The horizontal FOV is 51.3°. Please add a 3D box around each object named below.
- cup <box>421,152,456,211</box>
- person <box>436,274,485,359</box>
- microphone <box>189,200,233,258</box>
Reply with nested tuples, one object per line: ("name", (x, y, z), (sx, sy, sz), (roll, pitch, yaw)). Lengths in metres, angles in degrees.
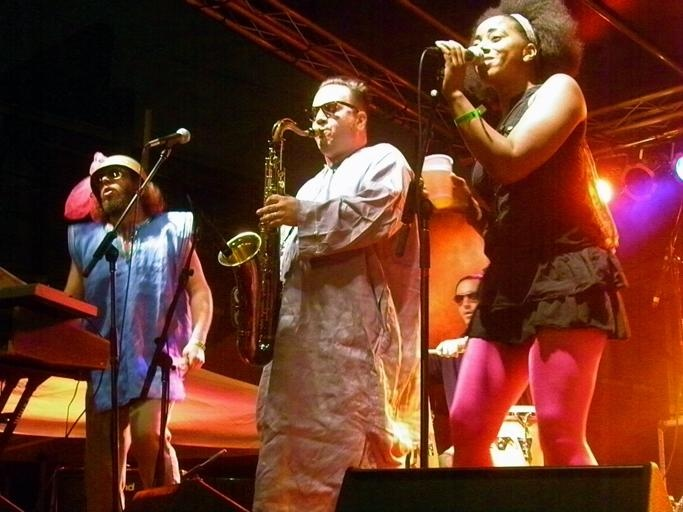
("cup", (0.525, -0.429, 3.860), (0.156, 0.371, 0.152), (-2, 7, 0))
("person", (1.043, 0.482, 6.276), (0.355, 0.888, 0.387), (-2, 5, 2))
("microphone", (-0.777, -0.171, 4.213), (0.217, 0.409, 0.226), (-8, 10, -35))
